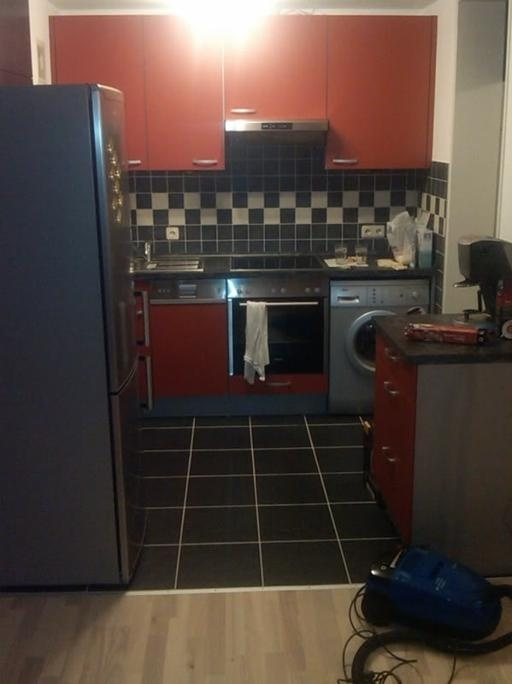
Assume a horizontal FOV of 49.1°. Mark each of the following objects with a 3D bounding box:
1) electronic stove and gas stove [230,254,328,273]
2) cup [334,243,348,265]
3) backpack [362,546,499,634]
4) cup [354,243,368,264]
[{"bbox_3d":[0.145,-0.508,3.636,0.427,0.065,0.380,0,15,-5],"label":"electronic stove and gas stove"},{"bbox_3d":[0.556,-0.572,3.655,0.077,0.127,0.268,1,11,8],"label":"cup"},{"bbox_3d":[0.538,0.787,1.733,0.393,0.202,0.173,5,12,23],"label":"backpack"},{"bbox_3d":[0.699,-0.581,3.703,0.080,0.120,0.295,2,12,10],"label":"cup"}]
